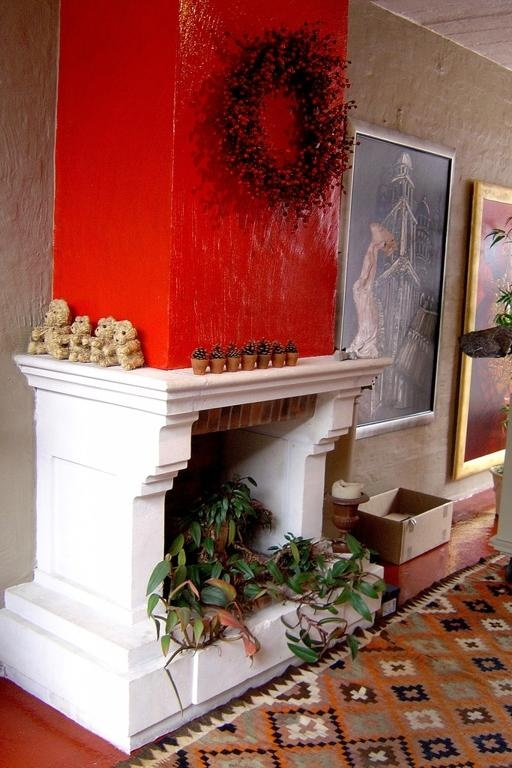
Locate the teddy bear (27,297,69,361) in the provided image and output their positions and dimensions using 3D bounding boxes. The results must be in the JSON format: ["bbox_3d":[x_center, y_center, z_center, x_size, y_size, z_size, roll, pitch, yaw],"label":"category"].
[{"bbox_3d":[-0.657,-0.175,2.134,0.162,0.183,0.120,5,18,24],"label":"teddy bear"}]

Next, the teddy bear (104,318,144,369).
[{"bbox_3d":[-0.374,-0.112,1.912,0.101,0.133,0.150,-1,7,-38],"label":"teddy bear"}]

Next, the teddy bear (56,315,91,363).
[{"bbox_3d":[-0.543,-0.137,2.051,0.094,0.137,0.186,1,7,-30],"label":"teddy bear"}]

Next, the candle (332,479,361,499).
[{"bbox_3d":[0.371,0.422,2.664,0.079,0.034,0.077,-2,6,-19],"label":"candle"}]

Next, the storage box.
[{"bbox_3d":[0.724,0.711,3.370,0.487,0.204,0.341,-6,11,-44],"label":"storage box"}]
